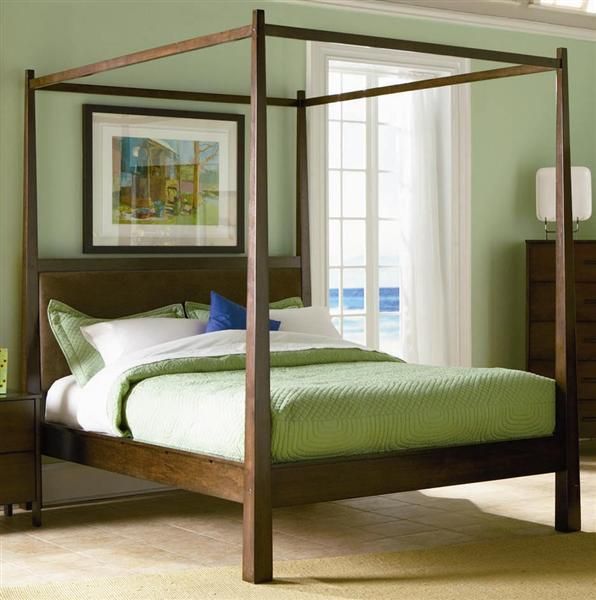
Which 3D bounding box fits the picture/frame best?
[{"bbox_3d":[-0.794,-0.720,4.108,1.203,0.865,0.050,7,10,26],"label":"picture/frame"}]
